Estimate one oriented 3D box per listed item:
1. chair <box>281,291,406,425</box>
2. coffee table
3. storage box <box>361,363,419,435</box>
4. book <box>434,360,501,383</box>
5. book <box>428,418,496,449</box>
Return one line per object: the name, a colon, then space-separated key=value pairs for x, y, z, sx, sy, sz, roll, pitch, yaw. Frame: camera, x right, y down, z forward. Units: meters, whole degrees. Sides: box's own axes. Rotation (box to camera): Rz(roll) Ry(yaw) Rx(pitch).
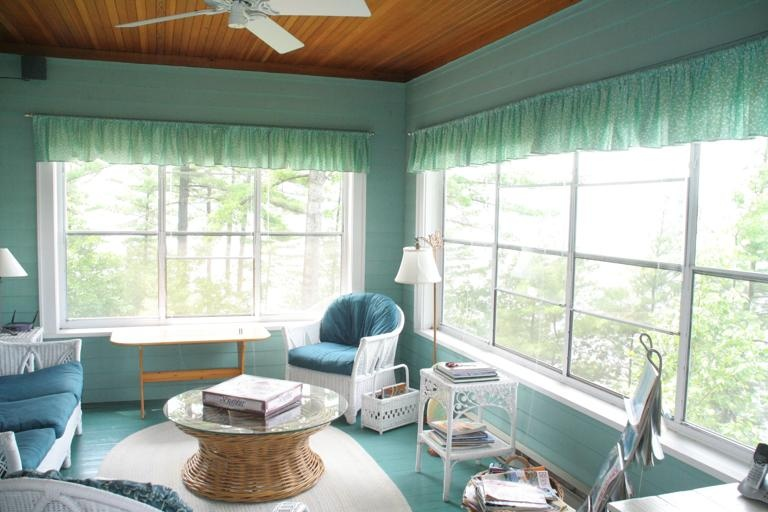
chair: x=-0.371 y=0.937 z=5.506 sx=1.015 sy=0.852 sz=1.063 roll=5 pitch=14 yaw=27
coffee table: x=-0.948 y=1.429 z=3.914 sx=1.103 sy=0.324 sz=0.972 roll=3 pitch=5 yaw=29
storage box: x=0.060 y=1.357 z=5.166 sx=0.336 sy=0.482 sz=0.566 roll=4 pitch=2 yaw=43
book: x=0.636 y=0.890 z=4.147 sx=0.501 sy=0.089 sz=0.253 roll=2 pitch=9 yaw=3
book: x=0.628 y=1.348 z=4.207 sx=0.445 sy=0.165 sz=0.299 roll=-1 pitch=10 yaw=-16
